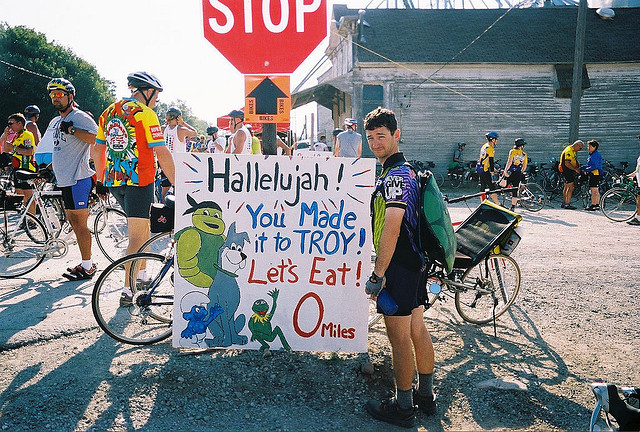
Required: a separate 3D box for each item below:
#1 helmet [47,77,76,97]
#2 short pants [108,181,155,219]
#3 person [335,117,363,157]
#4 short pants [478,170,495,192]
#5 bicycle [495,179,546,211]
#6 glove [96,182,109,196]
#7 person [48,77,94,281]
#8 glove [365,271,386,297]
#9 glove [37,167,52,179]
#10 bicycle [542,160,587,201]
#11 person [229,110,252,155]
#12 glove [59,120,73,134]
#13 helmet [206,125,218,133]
[{"bbox_3d":[-3.895,-2.000,8.022,0.249,0.194,0.366,9,-3,17],"label":"helmet"},{"bbox_3d":[-2.610,-0.238,7.375,0.429,0.477,0.274,-10,8,0],"label":"short pants"},{"bbox_3d":[0.674,-1.917,12.885,0.613,0.889,0.896,1,8,0],"label":"person"},{"bbox_3d":[4.639,-1.005,14.813,0.375,0.597,0.823,3,8,17],"label":"short pants"},{"bbox_3d":[5.491,-0.561,14.524,1.655,1.105,0.846,-2,10,15],"label":"bicycle"},{"bbox_3d":[-3.138,-0.404,7.624,0.160,0.175,0.097,-3,8,-22],"label":"glove"},{"bbox_3d":[-3.746,-0.537,8.120,0.658,3.100,0.455,4,8,22],"label":"person"},{"bbox_3d":[0.596,0.718,5.655,0.206,0.278,0.087,1,8,5],"label":"glove"},{"bbox_3d":[-4.971,-0.755,9.603,0.206,0.199,0.958,-4,9,-27],"label":"glove"},{"bbox_3d":[8.566,-1.277,18.632,1.151,1.555,2.387,-2,2,-18],"label":"bicycle"},{"bbox_3d":[-1.585,-1.547,10.218,0.515,0.975,0.688,2,10,-3],"label":"person"},{"bbox_3d":[-3.816,-1.339,7.957,0.293,0.176,0.077,6,9,32],"label":"glove"},{"bbox_3d":[-2.722,-2.224,13.401,0.279,0.230,0.206,-10,19,-18],"label":"helmet"}]
